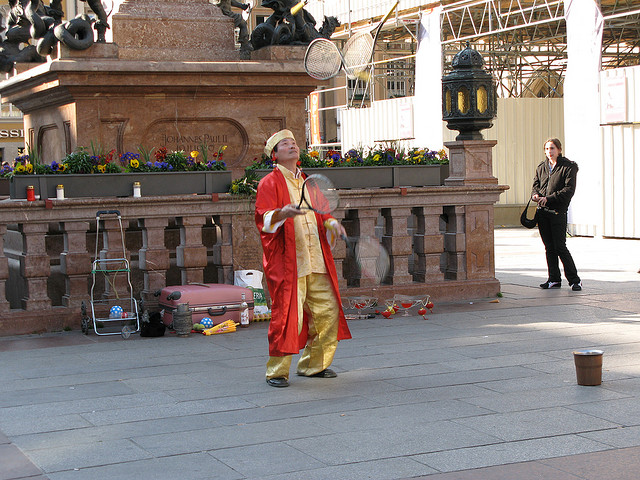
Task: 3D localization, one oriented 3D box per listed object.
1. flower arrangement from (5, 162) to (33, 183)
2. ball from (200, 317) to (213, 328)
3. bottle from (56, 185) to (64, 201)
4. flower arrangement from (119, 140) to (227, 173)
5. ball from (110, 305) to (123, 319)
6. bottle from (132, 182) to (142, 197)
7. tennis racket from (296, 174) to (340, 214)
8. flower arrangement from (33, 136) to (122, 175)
[{"bbox_3d":[-3.770,-0.836,12.379,0.268,0.168,0.250,-1,10,-12],"label":"flower arrangement"},{"bbox_3d":[-1.391,1.030,12.101,0.166,0.112,0.089,-4,11,-16],"label":"ball"},{"bbox_3d":[-3.210,-0.584,12.207,0.100,0.173,0.289,-4,11,-14],"label":"bottle"},{"bbox_3d":[-1.907,-1.081,12.985,1.203,0.387,0.463,-6,13,-36],"label":"flower arrangement"},{"bbox_3d":[-2.472,0.891,12.015,0.158,0.151,0.140,-3,-11,-8],"label":"ball"},{"bbox_3d":[-2.321,-0.640,12.563,0.121,0.170,0.250,-3,10,-10],"label":"bottle"},{"bbox_3d":[-0.013,-0.430,9.291,0.342,0.371,0.183,-3,11,-8],"label":"tennis racket"},{"bbox_3d":[-3.184,-1.054,12.948,1.068,0.285,1.292,-4,10,-14],"label":"flower arrangement"}]
